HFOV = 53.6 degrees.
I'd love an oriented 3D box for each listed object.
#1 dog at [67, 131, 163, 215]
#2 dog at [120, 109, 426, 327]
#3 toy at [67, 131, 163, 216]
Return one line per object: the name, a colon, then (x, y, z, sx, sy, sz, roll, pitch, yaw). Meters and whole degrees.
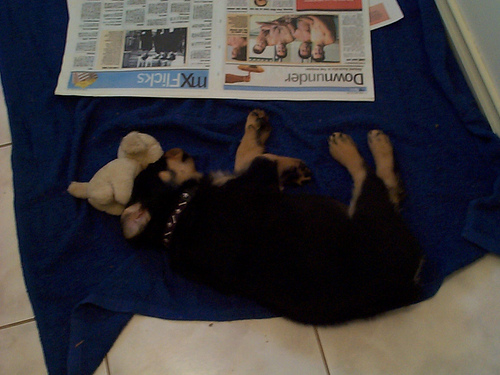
dog: (-0.417, -0.048, 1.652, 0.251, 0.112, 0.275, 24, 75, 27)
dog: (0.078, 0.116, 1.650, 0.978, 0.538, 0.413, 1, 23, 8)
toy: (-0.422, -0.043, 1.662, 0.245, 0.111, 0.286, 26, 74, 24)
